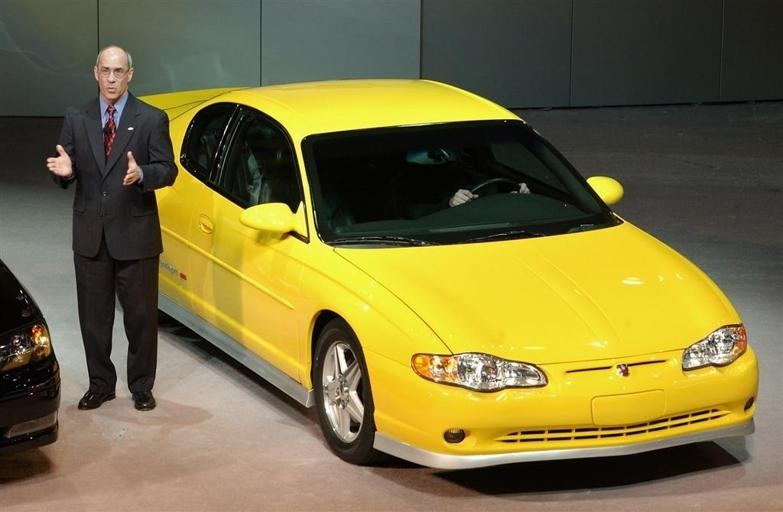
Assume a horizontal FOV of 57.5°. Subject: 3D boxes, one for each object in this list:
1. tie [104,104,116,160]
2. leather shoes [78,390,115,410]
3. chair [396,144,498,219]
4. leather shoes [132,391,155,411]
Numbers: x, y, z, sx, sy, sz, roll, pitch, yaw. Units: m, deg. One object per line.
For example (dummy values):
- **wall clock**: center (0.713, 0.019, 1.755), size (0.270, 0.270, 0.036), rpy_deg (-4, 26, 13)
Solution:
- **tie**: center (-2.040, -0.893, 5.180), size (0.099, 0.365, 0.114), rpy_deg (-5, 17, -17)
- **leather shoes**: center (-2.282, 1.110, 5.557), size (0.110, 0.108, 0.284), rpy_deg (15, 11, 40)
- **chair**: center (0.405, -0.578, 5.529), size (0.698, 0.481, 0.695), rpy_deg (-7, 4, 6)
- **leather shoes**: center (-1.897, 1.116, 5.491), size (0.094, 0.077, 0.224), rpy_deg (-2, 9, -24)
